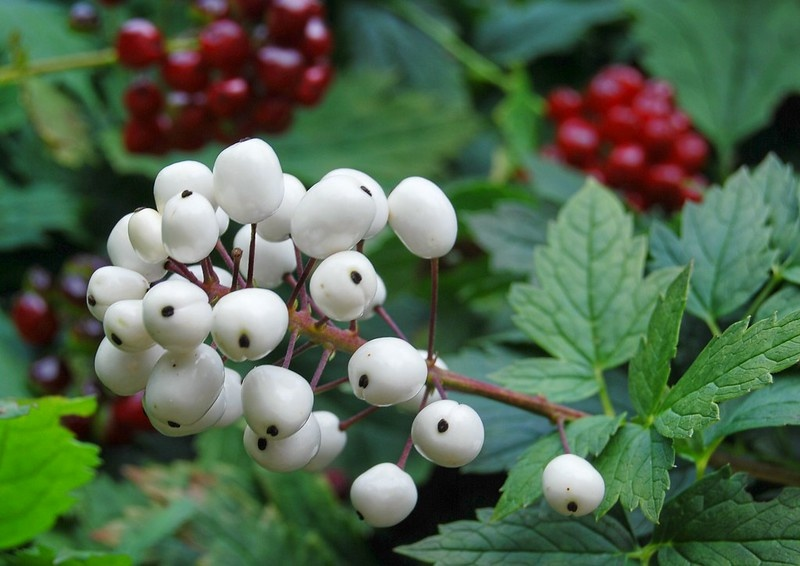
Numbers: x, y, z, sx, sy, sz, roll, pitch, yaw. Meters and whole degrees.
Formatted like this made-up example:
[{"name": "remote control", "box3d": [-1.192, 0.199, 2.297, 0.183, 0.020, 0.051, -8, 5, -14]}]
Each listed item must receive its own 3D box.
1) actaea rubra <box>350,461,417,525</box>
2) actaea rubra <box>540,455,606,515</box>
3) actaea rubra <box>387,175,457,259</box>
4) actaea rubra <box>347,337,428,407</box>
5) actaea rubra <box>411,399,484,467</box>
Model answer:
[{"name": "actaea rubra", "box3d": [-0.004, 0.208, 0.737, 0.039, 0.050, 0.045, 13, 18, 33]}, {"name": "actaea rubra", "box3d": [0.164, 0.191, 0.727, 0.052, 0.057, 0.073, 4, 23, 13]}, {"name": "actaea rubra", "box3d": [0.021, -0.059, 0.749, 0.061, 0.070, 0.059, -16, 46, -6]}, {"name": "actaea rubra", "box3d": [-0.009, 0.082, 0.739, 0.053, 0.067, 0.053, -27, 72, 35]}, {"name": "actaea rubra", "box3d": [0.048, 0.152, 0.724, 0.054, 0.053, 0.059, 36, 106, 43]}]
